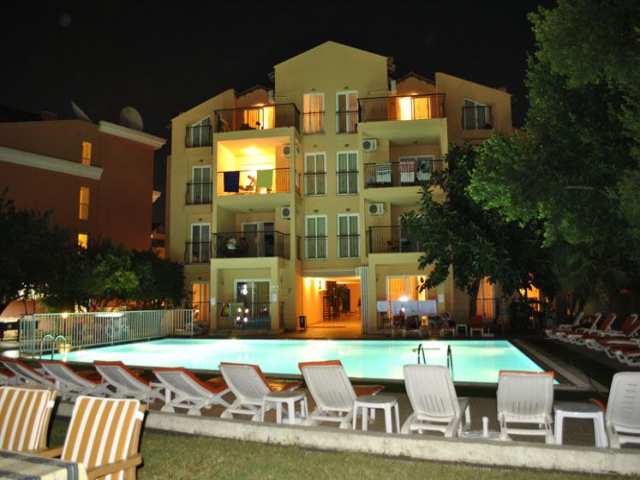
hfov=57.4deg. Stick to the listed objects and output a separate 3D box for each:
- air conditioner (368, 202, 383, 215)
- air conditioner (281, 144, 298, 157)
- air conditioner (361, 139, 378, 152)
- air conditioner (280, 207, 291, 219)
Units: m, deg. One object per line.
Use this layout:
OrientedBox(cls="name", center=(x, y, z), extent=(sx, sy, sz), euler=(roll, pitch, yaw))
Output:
OrientedBox(cls="air conditioner", center=(2.523, -1.397, 26.576), extent=(0.826, 0.785, 0.457), euler=(-1, -14, 6))
OrientedBox(cls="air conditioner", center=(-1.324, -4.211, 27.266), extent=(0.845, 0.693, 0.635), euler=(-1, 2, -36))
OrientedBox(cls="air conditioner", center=(2.158, -4.336, 26.665), extent=(0.598, 0.620, 0.150), euler=(-6, 8, -29))
OrientedBox(cls="air conditioner", center=(-1.549, -1.259, 26.845), extent=(0.438, 0.486, 0.464), euler=(-1, -4, 10))
